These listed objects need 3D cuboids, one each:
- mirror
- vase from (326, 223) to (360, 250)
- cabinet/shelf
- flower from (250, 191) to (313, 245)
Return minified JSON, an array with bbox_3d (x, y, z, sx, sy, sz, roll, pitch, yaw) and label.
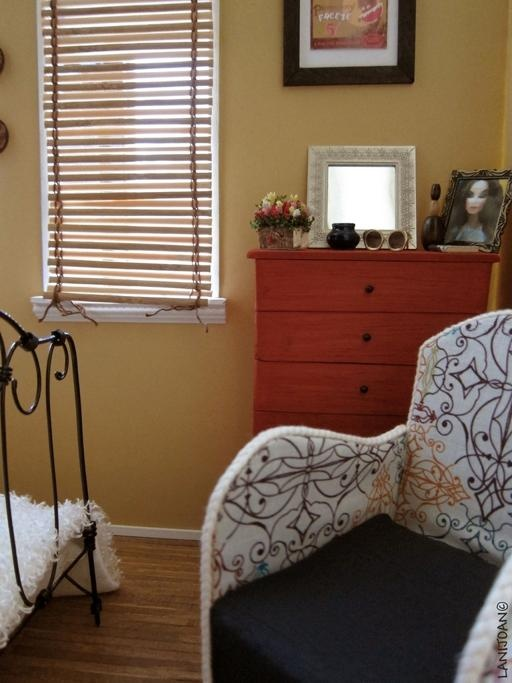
[{"bbox_3d":[0.372,-0.486,2.128,0.393,0.397,0.030,1,-3,6],"label":"mirror"},{"bbox_3d":[0.277,-0.331,1.965,0.088,0.066,0.094,2,6,3],"label":"vase"},{"bbox_3d":[0.333,-0.002,1.748,0.542,0.510,0.213,0,5,5],"label":"cabinet/shelf"},{"bbox_3d":[0.081,-0.370,2.046,0.177,0.182,0.222,3,8,1],"label":"flower"}]
